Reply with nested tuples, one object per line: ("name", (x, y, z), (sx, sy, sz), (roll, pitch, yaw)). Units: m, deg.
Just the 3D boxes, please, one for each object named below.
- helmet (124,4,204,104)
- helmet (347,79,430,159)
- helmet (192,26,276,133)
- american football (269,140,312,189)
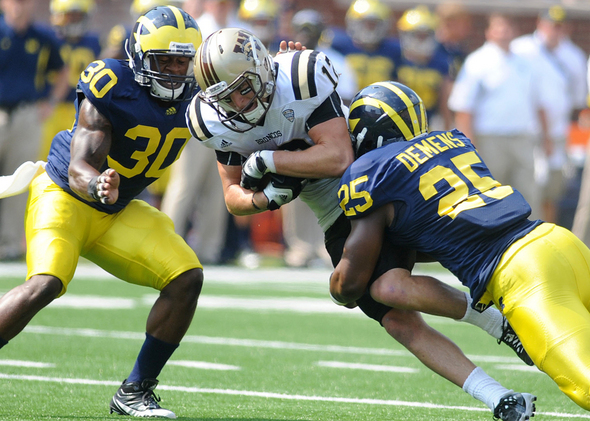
("helmet", (-0.643, -0.760, 3.317), (0.355, 0.403, 0.445), (-2, 20, -32))
("helmet", (0.438, -0.458, 3.380), (0.366, 0.363, 0.297), (-21, 0, 39))
("helmet", (-0.290, -0.593, 3.221), (0.270, 0.357, 0.362), (-22, 30, 40))
("american football", (-0.033, -0.204, 3.292), (0.242, 0.188, 0.098), (0, 21, -1))
